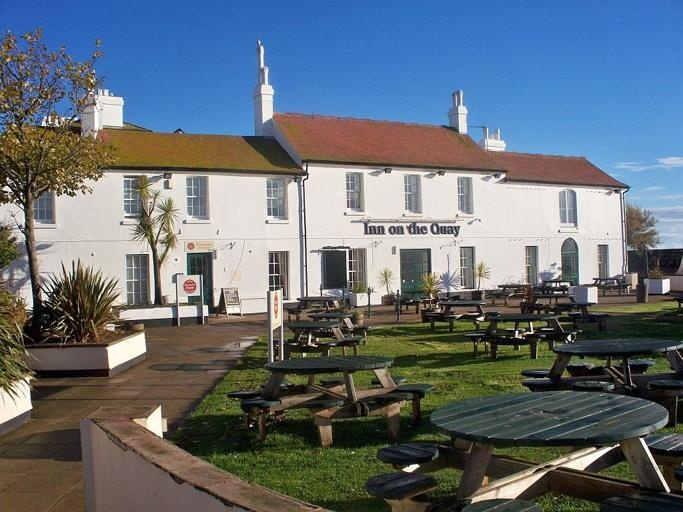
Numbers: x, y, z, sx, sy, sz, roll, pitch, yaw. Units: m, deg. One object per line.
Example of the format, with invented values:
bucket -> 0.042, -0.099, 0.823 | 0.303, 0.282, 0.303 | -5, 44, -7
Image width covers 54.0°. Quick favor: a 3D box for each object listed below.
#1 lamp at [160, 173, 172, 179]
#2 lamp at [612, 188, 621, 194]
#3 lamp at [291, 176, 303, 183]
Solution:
lamp -> -6.417, -2.897, 24.615 | 0.332, 0.293, 0.235 | 0, -1, -30
lamp -> 14.323, -3.390, 34.942 | 0.281, 0.176, 0.283 | 5, 11, 34
lamp -> -1.765, -3.039, 26.550 | 0.401, 0.264, 0.082 | -2, 6, -24
